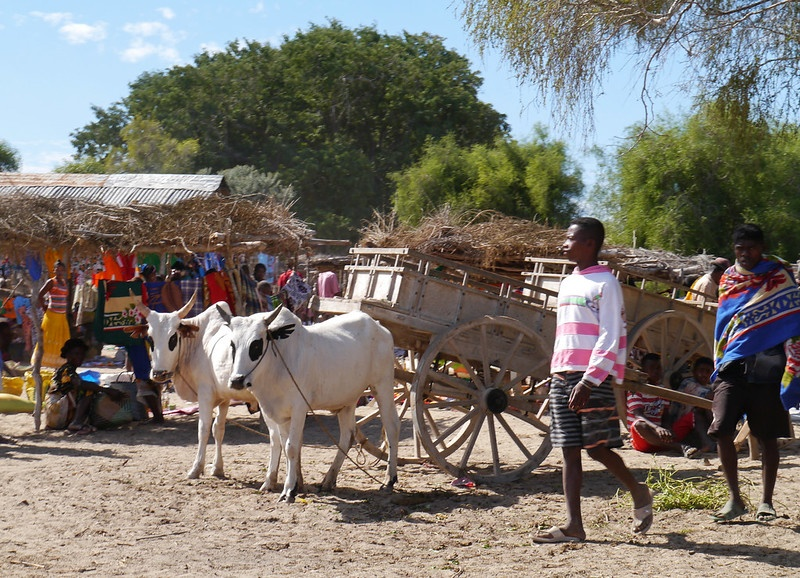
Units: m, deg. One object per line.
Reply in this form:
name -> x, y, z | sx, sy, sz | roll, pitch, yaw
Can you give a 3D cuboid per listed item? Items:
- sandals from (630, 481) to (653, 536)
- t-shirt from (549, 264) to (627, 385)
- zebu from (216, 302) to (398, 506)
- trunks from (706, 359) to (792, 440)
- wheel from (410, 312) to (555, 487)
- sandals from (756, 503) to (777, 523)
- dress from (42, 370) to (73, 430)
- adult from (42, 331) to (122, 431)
sandals -> 2.189, 1.958, 8.002 | 0.206, 0.414, 0.152 | 9, 8, 36
t-shirt -> 1.786, 0.289, 8.158 | 0.889, 1.007, 1.187 | -4, 2, -6
zebu -> -1.118, 1.263, 9.700 | 1.151, 1.989, 2.862 | -8, -5, 33
trunks -> 3.356, 0.911, 8.179 | 0.504, 0.640, 0.908 | 4, -2, -43
wheel -> 0.930, 1.211, 10.018 | 2.651, 1.794, 0.623 | 4, -3, -22
sandals -> 3.387, 2.020, 8.186 | 0.175, 0.153, 0.143 | 0, 8, 19
dress -> -4.742, 1.542, 12.250 | 0.403, 0.697, 0.239 | -3, 9, 2
adult -> -4.490, 1.395, 13.032 | 1.633, 1.360, 1.034 | 1, 1, -15
